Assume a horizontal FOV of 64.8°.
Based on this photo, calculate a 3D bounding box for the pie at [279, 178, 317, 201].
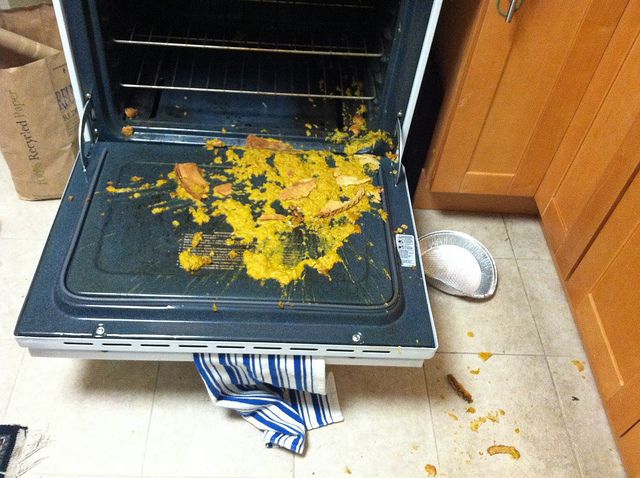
[{"bbox_3d":[-0.063,-0.148,1.522,0.126,0.013,0.060,-34,58,-32],"label":"pie"}]

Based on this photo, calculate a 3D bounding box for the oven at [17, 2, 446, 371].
[{"bbox_3d":[-0.210,-0.257,1.450,1.076,0.737,0.946,3,46,-4],"label":"oven"}]

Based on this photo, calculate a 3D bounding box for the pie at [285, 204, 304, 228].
[{"bbox_3d":[-0.072,-0.069,1.468,0.049,0.016,0.078,9,46,2],"label":"pie"}]

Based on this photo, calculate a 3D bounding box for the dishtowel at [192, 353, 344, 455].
[{"bbox_3d":[-0.127,0.470,1.473,0.434,0.378,0.188,-7,46,-12],"label":"dishtowel"}]
